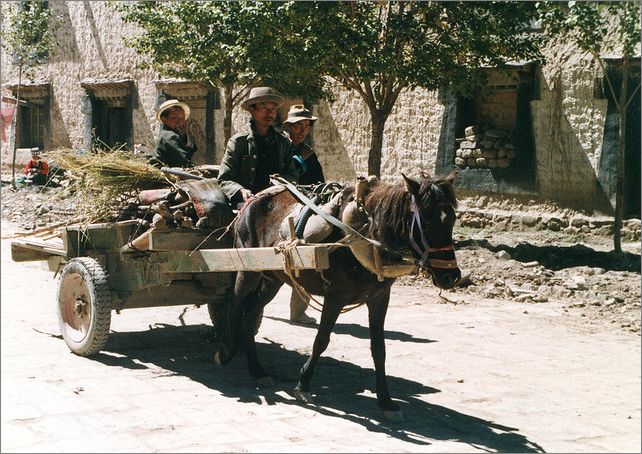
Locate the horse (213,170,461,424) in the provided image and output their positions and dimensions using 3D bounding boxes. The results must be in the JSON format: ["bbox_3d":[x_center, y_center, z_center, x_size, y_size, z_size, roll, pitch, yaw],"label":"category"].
[{"bbox_3d":[0.091,0.858,11.704,1.110,3.047,4.363,-3,6,-43],"label":"horse"}]

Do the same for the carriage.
[{"bbox_3d":[-1.144,0.650,12.519,7.362,2.981,3.181,3,2,41],"label":"carriage"}]

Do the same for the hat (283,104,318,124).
[{"bbox_3d":[-0.347,-1.703,12.890,0.346,0.178,0.358,-2,-9,-11],"label":"hat"}]

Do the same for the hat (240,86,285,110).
[{"bbox_3d":[-0.838,-1.837,12.255,0.569,0.340,0.460,5,5,38],"label":"hat"}]

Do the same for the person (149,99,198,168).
[{"bbox_3d":[-2.245,-1.404,13.059,0.633,1.020,0.795,1,5,-8],"label":"person"}]

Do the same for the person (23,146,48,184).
[{"bbox_3d":[-8.664,-1.766,26.149,0.752,1.085,0.723,-5,13,-33],"label":"person"}]
